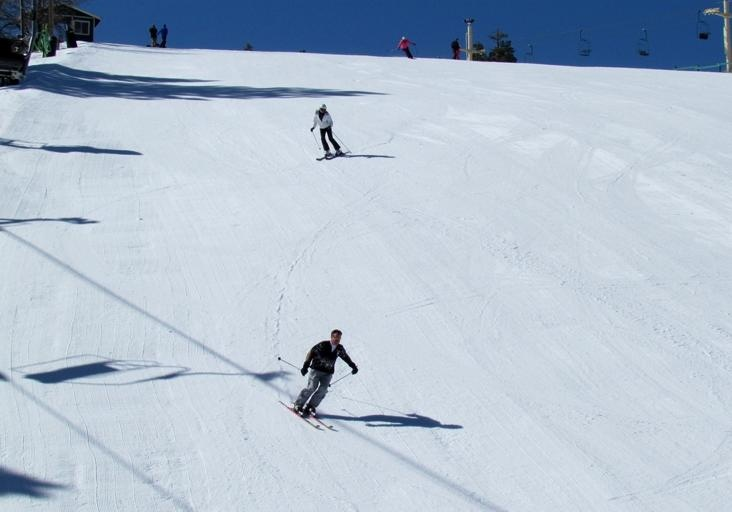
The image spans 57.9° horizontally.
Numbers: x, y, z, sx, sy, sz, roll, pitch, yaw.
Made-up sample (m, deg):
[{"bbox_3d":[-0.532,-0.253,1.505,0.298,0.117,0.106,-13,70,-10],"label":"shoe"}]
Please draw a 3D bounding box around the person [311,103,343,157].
[{"bbox_3d":[-1.117,-3.744,19.078,0.865,1.476,1.585,-2,24,-6],"label":"person"}]

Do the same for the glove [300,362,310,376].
[{"bbox_3d":[-1.000,1.901,10.941,0.121,0.269,0.278,-2,24,-5],"label":"glove"}]

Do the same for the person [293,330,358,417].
[{"bbox_3d":[-0.765,1.951,11.058,0.943,1.448,0.582,-19,30,-39],"label":"person"}]

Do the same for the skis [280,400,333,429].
[{"bbox_3d":[-1.019,2.673,11.041,0.670,0.066,0.110,34,20,28],"label":"skis"}]
